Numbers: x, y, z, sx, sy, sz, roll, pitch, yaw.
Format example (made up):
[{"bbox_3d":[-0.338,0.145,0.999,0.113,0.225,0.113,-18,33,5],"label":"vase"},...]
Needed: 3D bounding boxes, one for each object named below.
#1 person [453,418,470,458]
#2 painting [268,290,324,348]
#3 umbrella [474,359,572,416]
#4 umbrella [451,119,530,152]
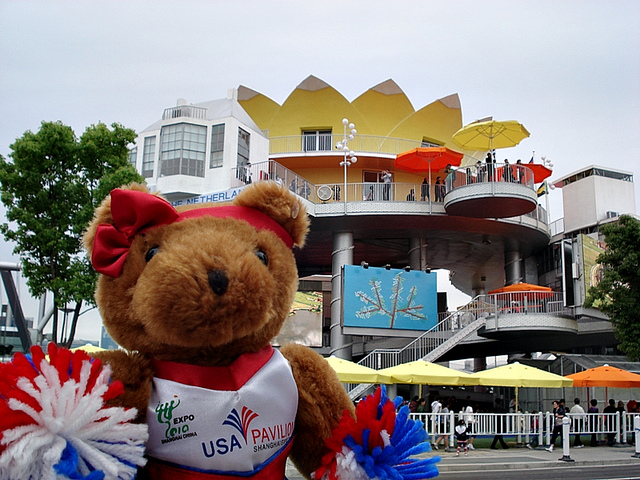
[{"bbox_3d":[3.582,4.971,21.645,0.420,0.909,1.810,0,-3,10],"label":"person"},{"bbox_3d":[-1.080,3.271,39.154,3.147,3.149,0.079,-3,-8,36],"label":"painting"},{"bbox_3d":[5.307,3.648,22.943,1.949,1.227,1.915,5,-11,-4],"label":"umbrella"},{"bbox_3d":[6.925,-4.286,34.543,2.905,1.076,2.976,19,14,34],"label":"umbrella"}]
